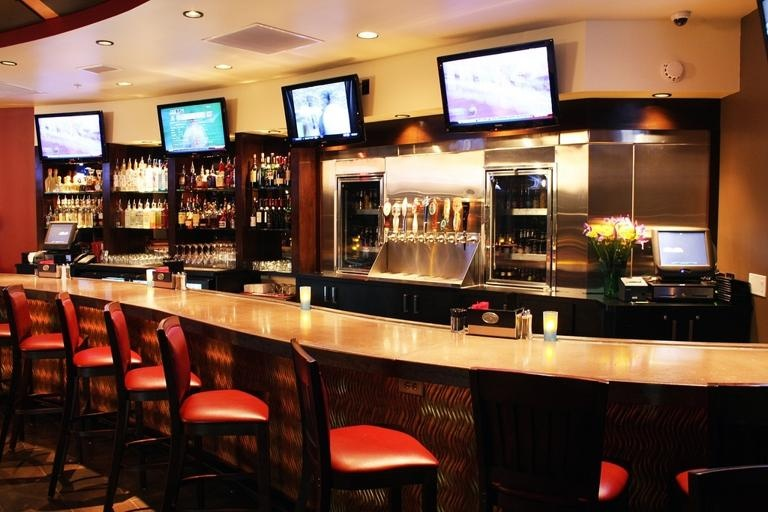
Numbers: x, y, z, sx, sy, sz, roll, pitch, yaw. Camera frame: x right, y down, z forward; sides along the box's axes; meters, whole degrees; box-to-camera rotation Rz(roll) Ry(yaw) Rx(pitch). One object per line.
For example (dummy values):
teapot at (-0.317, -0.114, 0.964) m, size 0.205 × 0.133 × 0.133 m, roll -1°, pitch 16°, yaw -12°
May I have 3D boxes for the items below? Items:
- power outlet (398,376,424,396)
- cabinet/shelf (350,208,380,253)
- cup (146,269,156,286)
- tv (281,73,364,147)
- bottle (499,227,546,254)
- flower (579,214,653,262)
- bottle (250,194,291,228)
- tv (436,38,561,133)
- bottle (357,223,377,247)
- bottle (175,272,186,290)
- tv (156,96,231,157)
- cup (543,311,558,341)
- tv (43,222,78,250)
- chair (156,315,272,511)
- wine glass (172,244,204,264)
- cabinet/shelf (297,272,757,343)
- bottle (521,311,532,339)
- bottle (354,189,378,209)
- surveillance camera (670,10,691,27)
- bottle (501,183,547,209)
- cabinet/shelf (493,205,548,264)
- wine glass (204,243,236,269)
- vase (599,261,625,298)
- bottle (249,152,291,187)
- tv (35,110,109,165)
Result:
power outlet at (0.180, 0.833, 3.859) m, size 0.206 × 0.118 × 0.044 m, roll 3°, pitch 7°, yaw 37°
cabinet/shelf at (-0.240, -0.343, 8.062) m, size 0.330 × 0.565 × 0.605 m, roll 0°, pitch -1°, yaw -40°
cup at (-2.535, 0.228, 6.505) m, size 0.086 × 0.160 × 0.241 m, roll -1°, pitch 4°, yaw -24°
tv at (-0.798, -1.729, 7.295) m, size 0.129 × 0.826 × 1.246 m, roll 12°, pitch 23°, yaw 43°
bottle at (1.562, -0.169, 6.820) m, size 0.586 × 0.278 × 0.054 m, roll 3°, pitch 4°, yaw 38°
flower at (2.382, -0.196, 6.154) m, size 0.602 × 0.439 × 0.510 m, roll 1°, pitch 3°, yaw 15°
bottle at (-1.619, -0.626, 8.495) m, size 0.504 × 0.460 × 0.151 m, roll 0°, pitch -1°, yaw 25°
tv at (1.222, -1.776, 6.189) m, size 1.034 × 0.675 × 0.111 m, roll 3°, pitch 21°, yaw 30°
bottle at (-0.222, -0.283, 8.071) m, size 0.289 × 0.302 × 0.036 m, roll 2°, pitch 3°, yaw 31°
bottle at (-2.103, 0.254, 6.148) m, size 0.112 × 0.164 × 0.129 m, roll -1°, pitch 3°, yaw -9°
tv at (-2.752, -1.803, 8.458) m, size 0.153 × 0.790 × 1.380 m, roll 6°, pitch 17°, yaw 23°
cup at (1.135, 0.479, 4.092) m, size 0.075 × 0.197 × 0.059 m, roll 1°, pitch 3°, yaw 24°
tv at (-4.807, -0.303, 8.909) m, size 0.372 × 0.372 × 0.191 m, roll 4°, pitch -26°, yaw 10°
chair at (-1.109, 1.051, 3.952) m, size 0.719 × 1.269 × 0.454 m, roll 0°, pitch 3°, yaw -6°
wine glass at (-2.936, -0.042, 9.072) m, size 0.368 × 0.171 × 0.449 m, roll 0°, pitch 10°, yaw -27°
cabinet/shelf at (1.358, 0.485, 6.532) m, size 4.551 × 0.642 × 0.727 m, roll 2°, pitch 4°, yaw 30°
bottle at (1.003, 0.472, 4.194) m, size 0.070 × 0.188 × 0.130 m, roll 1°, pitch 3°, yaw 17°
bottle at (-0.216, -0.764, 8.071) m, size 0.350 × 0.235 × 0.071 m, roll 3°, pitch 4°, yaw 39°
surveillance camera at (2.870, -2.299, 5.785) m, size 0.124 × 0.089 × 0.123 m, roll 0°, pitch 6°, yaw 2°
bottle at (1.598, -0.671, 6.803) m, size 0.539 × 0.231 × 0.064 m, roll 3°, pitch 4°, yaw 43°
cabinet/shelf at (1.681, -0.255, 6.974) m, size 0.723 × 0.686 × 0.386 m, roll 0°, pitch -2°, yaw 39°
wine glass at (-2.445, -0.008, 8.934) m, size 0.389 × 0.194 × 0.457 m, roll 0°, pitch 4°, yaw 1°
vase at (2.247, 0.232, 6.053) m, size 0.311 × 0.396 × 0.294 m, roll 1°, pitch -2°, yaw -7°
bottle at (-1.632, -1.212, 8.466) m, size 0.525 × 0.462 × 0.168 m, roll 1°, pitch -1°, yaw 21°
tv at (-4.881, -1.862, 9.325) m, size 1.386 × 0.794 × 0.090 m, roll 2°, pitch 8°, yaw 19°
